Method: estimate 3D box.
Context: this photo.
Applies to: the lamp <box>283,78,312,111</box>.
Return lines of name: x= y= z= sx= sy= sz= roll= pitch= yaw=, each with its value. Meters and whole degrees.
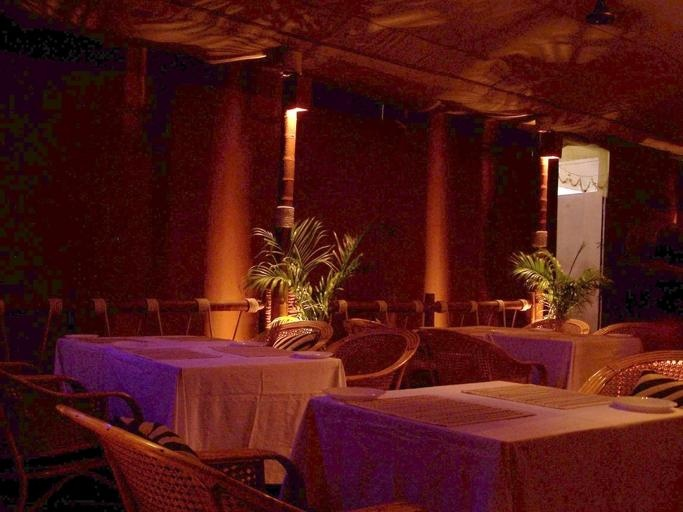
lamp: x=-0.428 y=-1.584 z=5.543 sx=0.270 sy=0.308 sz=0.175 roll=5 pitch=1 yaw=-11

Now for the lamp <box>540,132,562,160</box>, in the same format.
lamp: x=2.751 y=-1.463 z=7.529 sx=0.279 sy=0.359 sz=0.248 roll=5 pitch=0 yaw=17
